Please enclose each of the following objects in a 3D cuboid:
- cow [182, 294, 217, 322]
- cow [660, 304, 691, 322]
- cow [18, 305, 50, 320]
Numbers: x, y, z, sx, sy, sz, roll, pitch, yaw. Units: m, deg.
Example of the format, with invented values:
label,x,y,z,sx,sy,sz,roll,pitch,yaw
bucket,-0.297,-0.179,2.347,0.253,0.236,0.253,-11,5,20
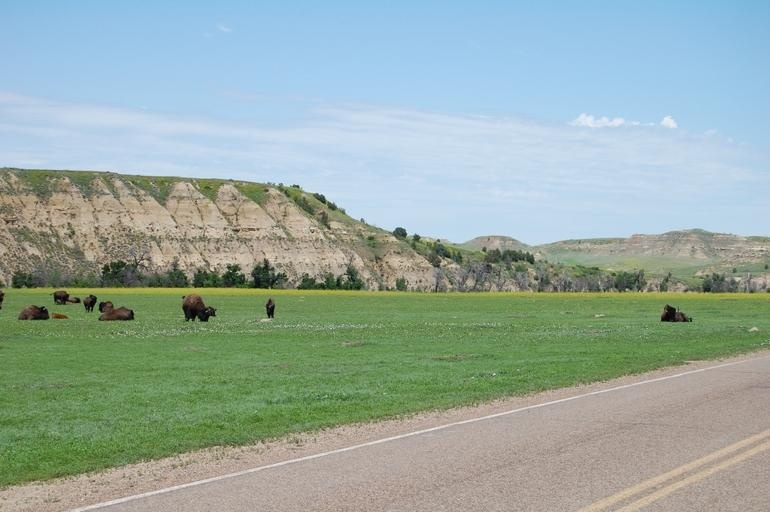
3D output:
label,x,y,z,sx,sy,sz,roll,pitch,yaw
cow,-16.813,4.684,75.187,2.328,2.461,3.285,-4,9,-11
cow,26.323,5.261,77.264,2.259,1.522,1.111,1,10,18
cow,-31.200,5.013,75.086,1.287,1.377,2.847,5,3,39
